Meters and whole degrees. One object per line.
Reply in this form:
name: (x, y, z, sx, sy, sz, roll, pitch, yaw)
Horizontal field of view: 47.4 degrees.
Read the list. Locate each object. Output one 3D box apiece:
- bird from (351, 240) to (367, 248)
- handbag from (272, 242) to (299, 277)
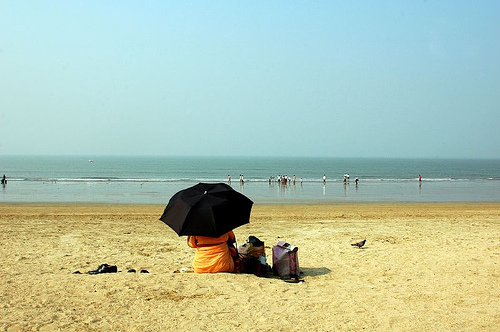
bird: (4.044, 2.889, 21.143, 0.490, 0.183, 0.412, -3, -2, 6)
handbag: (1.220, 3.102, 18.752, 0.999, 1.154, 1.145, -1, 2, -17)
